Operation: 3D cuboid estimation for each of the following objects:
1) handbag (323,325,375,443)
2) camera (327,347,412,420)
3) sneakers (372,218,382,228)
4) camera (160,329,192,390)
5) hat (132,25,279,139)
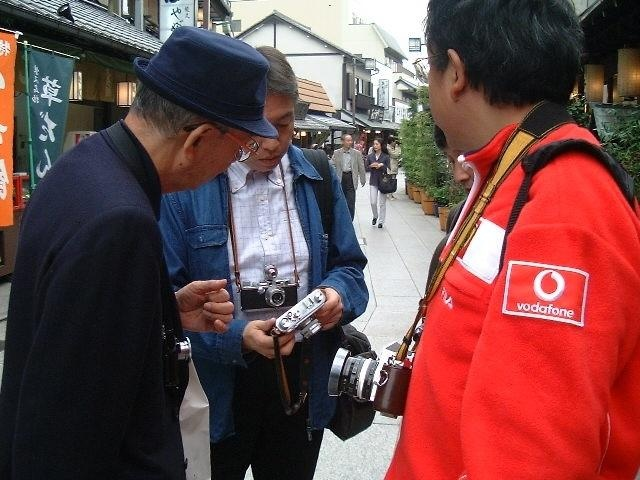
[{"bbox_3d":[0.148,0.707,2.248,0.112,0.469,0.451,7,13,-3],"label":"handbag"},{"bbox_3d":[0.166,0.486,1.677,0.254,0.219,0.354,9,-14,4],"label":"camera"},{"bbox_3d":[1.540,-0.456,12.836,0.221,0.287,0.697,1,0,4],"label":"sneakers"},{"bbox_3d":[-0.456,0.364,1.556,0.072,0.244,0.130,0,-7,20],"label":"camera"},{"bbox_3d":[-0.326,-0.475,1.459,0.369,0.149,0.317,23,23,-18],"label":"hat"}]
